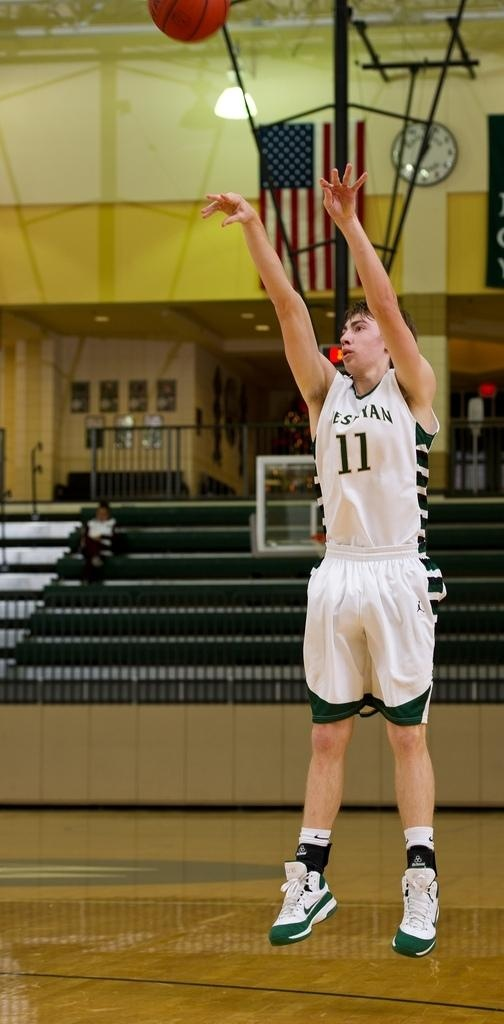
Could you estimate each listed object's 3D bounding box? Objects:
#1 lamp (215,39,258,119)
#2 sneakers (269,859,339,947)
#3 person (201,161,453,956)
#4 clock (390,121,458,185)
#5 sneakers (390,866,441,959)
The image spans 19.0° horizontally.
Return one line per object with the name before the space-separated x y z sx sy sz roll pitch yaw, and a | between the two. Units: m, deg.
lamp | -0.153 -3.895 13.738 0.363 0.565 0.237 1 13 9
sneakers | 0.142 1.112 4.096 0.153 0.263 0.255 1 14 8
person | 0.255 0.256 4.210 0.657 2.392 0.938 -2 13 -5
clock | 1.564 -3.208 13.528 0.573 0.673 0.613 -3 18 0
sneakers | 0.443 1.105 4.046 0.098 0.216 0.212 2 14 12
